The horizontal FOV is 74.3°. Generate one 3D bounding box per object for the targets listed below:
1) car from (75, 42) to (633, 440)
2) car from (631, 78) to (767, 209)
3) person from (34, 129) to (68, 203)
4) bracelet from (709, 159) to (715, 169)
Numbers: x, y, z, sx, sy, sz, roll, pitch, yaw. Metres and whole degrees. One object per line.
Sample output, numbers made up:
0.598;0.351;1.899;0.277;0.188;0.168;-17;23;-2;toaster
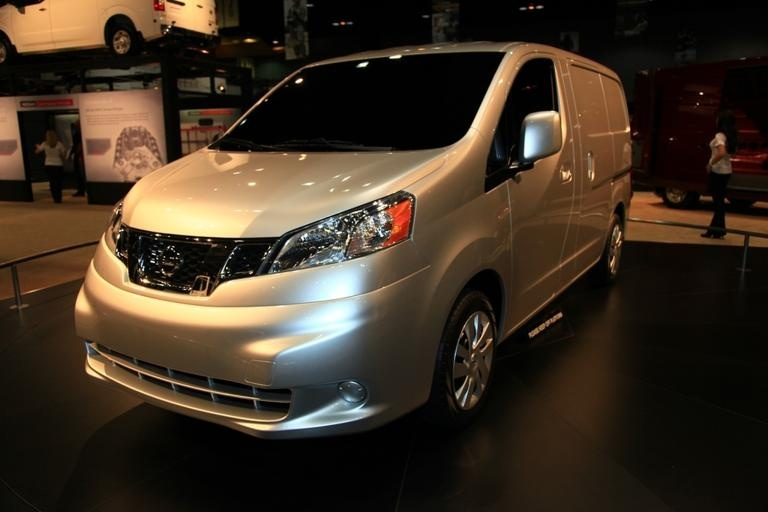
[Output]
0.318;-0.184;3.860;2.114;1.800;3.813;5;12;32;car
6.385;-2.450;10.792;2.811;1.998;2.084;9;19;37;car
-8.351;-2.274;12.819;0.584;1.755;1.314;-10;17;-32;person
5.213;-1.457;8.081;0.087;0.133;0.033;10;36;43;bracelet
